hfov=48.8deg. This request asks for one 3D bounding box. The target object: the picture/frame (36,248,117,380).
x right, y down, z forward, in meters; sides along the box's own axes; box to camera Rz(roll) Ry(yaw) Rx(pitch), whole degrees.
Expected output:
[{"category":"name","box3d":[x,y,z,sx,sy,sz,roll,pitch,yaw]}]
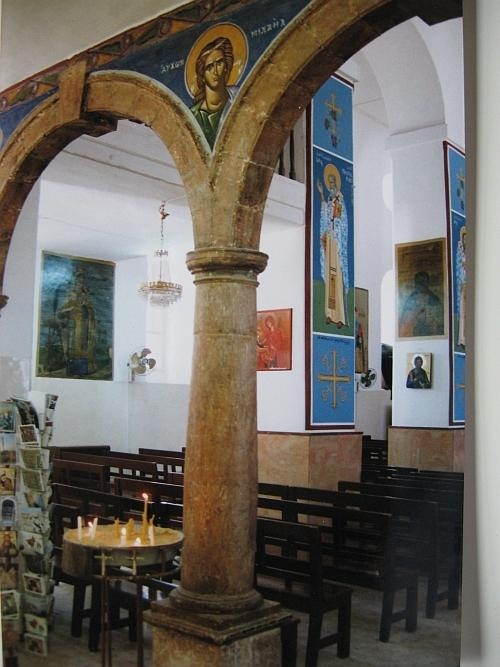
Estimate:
[{"category":"picture/frame","box3d":[-3.571,-0.348,11.221,1.636,2.487,0.150,4,-6,-42]}]

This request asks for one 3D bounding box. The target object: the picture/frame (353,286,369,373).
[{"category":"picture/frame","box3d":[2.363,-0.105,11.723,0.140,2.448,1.674,-1,-3,22]}]

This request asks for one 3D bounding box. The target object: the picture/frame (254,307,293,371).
[{"category":"picture/frame","box3d":[0.295,0.065,6.416,0.053,0.884,0.625,9,-11,-43]}]
